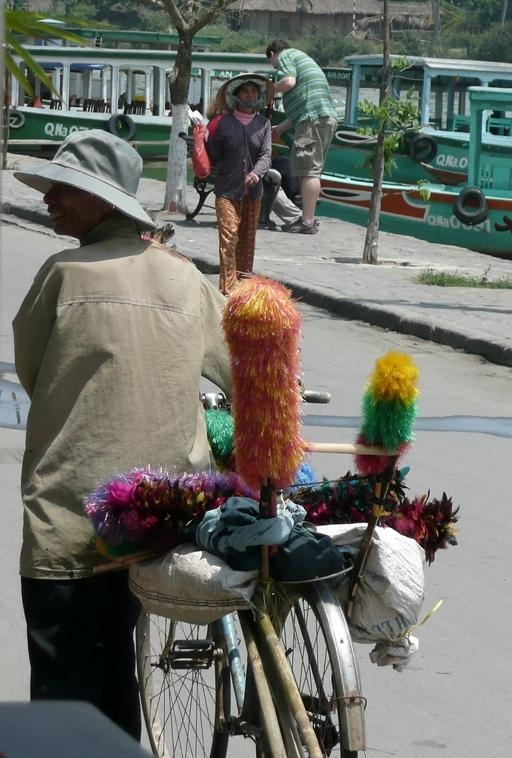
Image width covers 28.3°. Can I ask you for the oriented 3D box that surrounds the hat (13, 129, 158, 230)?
[{"bbox_3d":[-0.348,-0.439,2.167,0.318,0.148,0.264,14,7,-9],"label":"hat"}]

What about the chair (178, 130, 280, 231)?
[{"bbox_3d":[-0.098,-2.823,14.966,1.919,1.786,1.227,-2,7,0],"label":"chair"}]

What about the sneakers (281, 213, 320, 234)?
[{"bbox_3d":[0.625,-2.183,14.695,0.578,0.250,0.210,4,-3,0],"label":"sneakers"}]
